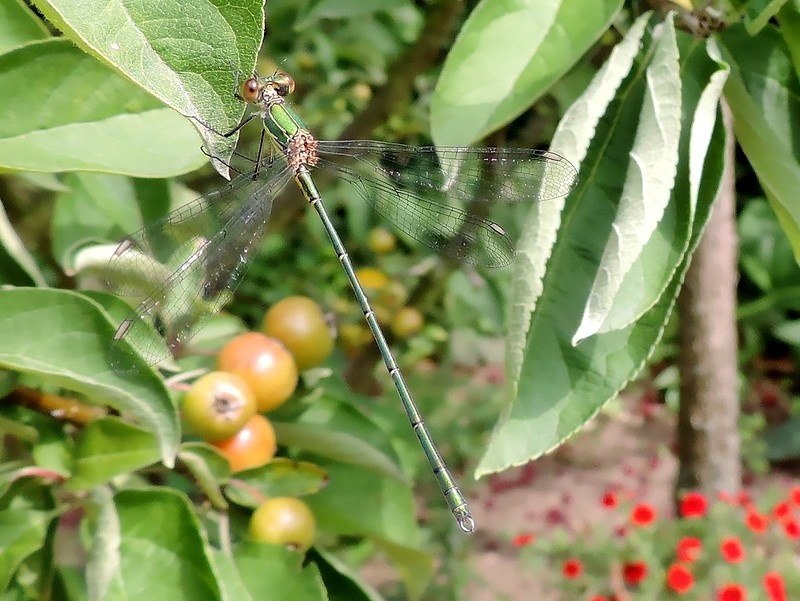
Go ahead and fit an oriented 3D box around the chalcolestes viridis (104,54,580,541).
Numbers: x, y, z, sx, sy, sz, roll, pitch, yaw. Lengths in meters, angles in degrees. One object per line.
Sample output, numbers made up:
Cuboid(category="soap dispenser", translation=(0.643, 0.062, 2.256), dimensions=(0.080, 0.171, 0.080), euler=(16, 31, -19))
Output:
Cuboid(category="chalcolestes viridis", translation=(-0.215, -0.073, 2.031), dimensions=(0.912, 0.389, 1.035), euler=(-19, 75, -39))
